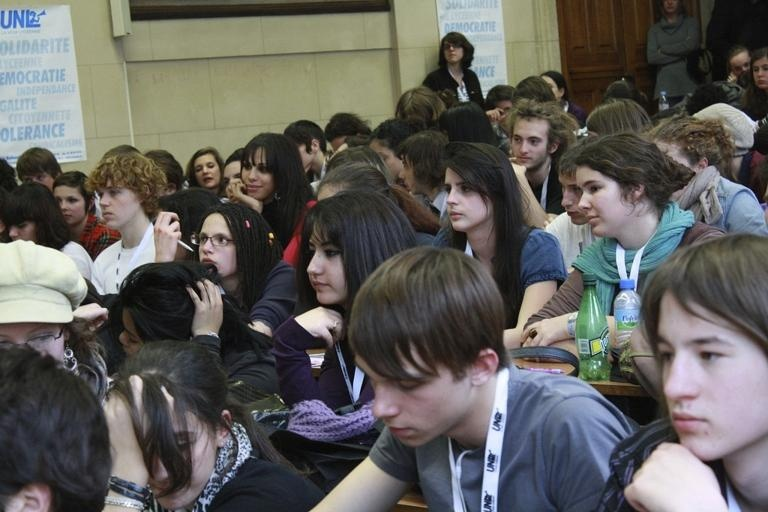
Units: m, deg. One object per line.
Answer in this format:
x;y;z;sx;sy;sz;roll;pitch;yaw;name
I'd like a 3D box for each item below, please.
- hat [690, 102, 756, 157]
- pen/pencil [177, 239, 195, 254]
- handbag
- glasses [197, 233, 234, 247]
2.680;-1.009;5.181;0.346;0.429;0.481;1;8;43;hat
-1.331;-0.073;4.380;0.141;0.026;0.024;42;7;37;pen/pencil
-0.254;0.723;2.375;0.287;0.122;0.291;24;-17;-5;handbag
-1.013;-0.099;3.832;0.235;0.093;0.081;-3;6;24;glasses
